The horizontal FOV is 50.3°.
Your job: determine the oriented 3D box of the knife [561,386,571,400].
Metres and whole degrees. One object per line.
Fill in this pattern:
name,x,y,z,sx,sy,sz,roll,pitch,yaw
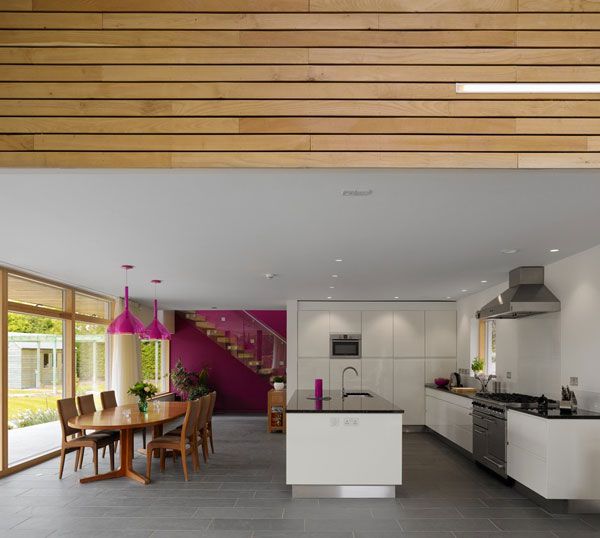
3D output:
knife,2.603,1.216,6.273,0.057,0.078,0.182,-2,4,14

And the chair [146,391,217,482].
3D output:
chair,-1.512,2.156,8.095,0.389,0.830,1.174,0,-8,6

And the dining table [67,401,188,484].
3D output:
dining table,-1.995,2.044,7.605,1.179,0.812,1.845,1,-9,-3

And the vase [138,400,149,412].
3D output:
vase,-1.883,1.659,7.745,0.102,0.163,0.118,-3,-3,30

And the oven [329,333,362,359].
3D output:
oven,0.781,1.321,10.900,0.553,0.479,0.351,1,-10,-2

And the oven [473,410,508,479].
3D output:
oven,2.143,1.972,7.179,0.332,0.777,0.752,2,-5,1

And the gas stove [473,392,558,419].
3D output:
gas stove,2.380,1.491,6.913,0.550,0.259,1.896,1,-9,-2

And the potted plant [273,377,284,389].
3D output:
potted plant,-0.360,2.043,11.456,0.195,0.292,0.208,1,0,-15

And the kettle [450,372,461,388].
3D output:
kettle,2.494,1.791,10.272,0.185,0.264,0.233,1,-3,-2

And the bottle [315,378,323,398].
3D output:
bottle,0.224,1.403,7.476,0.085,0.221,0.170,0,-8,0

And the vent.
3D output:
vent,2.454,0.255,7.182,0.528,0.542,0.986,0,-9,0

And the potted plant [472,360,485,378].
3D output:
potted plant,2.669,1.514,9.681,0.224,0.340,0.224,1,-5,-2
